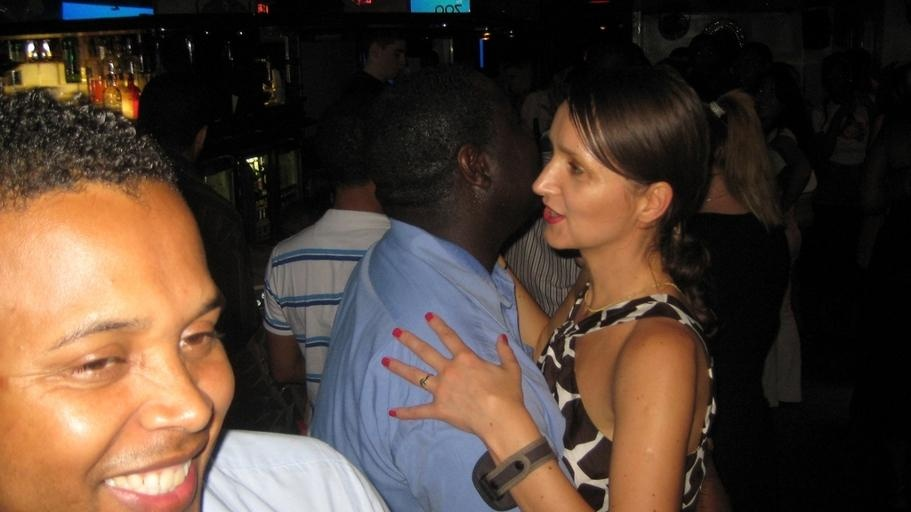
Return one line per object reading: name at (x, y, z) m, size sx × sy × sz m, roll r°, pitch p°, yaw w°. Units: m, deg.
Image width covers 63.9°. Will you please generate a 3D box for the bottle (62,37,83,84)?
bottle at (-3.413, -1.725, 6.463) m, size 0.143 × 0.383 × 0.082 m, roll -4°, pitch 14°, yaw -23°
